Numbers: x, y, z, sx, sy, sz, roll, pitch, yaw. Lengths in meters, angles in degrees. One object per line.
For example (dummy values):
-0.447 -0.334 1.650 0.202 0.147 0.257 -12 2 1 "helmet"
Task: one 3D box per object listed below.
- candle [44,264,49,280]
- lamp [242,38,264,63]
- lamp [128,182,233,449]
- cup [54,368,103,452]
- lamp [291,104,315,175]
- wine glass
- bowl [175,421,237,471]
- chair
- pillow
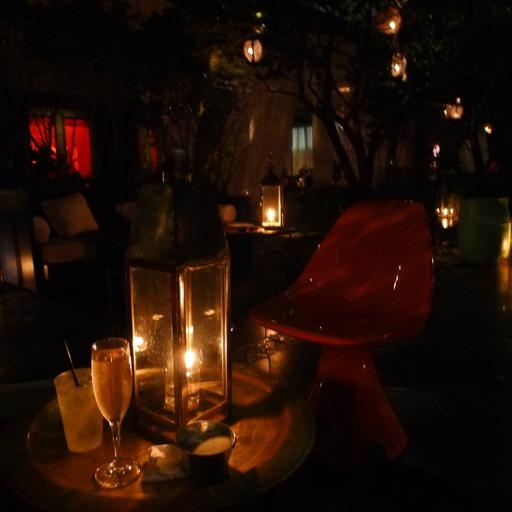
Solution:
-1.507 0.119 3.595 0.038 0.102 0.014 2 9 16 "candle"
-0.032 -1.824 4.451 0.158 0.211 0.248 -1 10 -2 "lamp"
-0.187 0.135 1.221 0.190 0.636 0.191 -13 21 -41 "lamp"
-0.396 0.357 1.162 0.075 0.160 0.087 1 9 6 "cup"
1.514 -3.436 15.752 0.610 2.318 0.204 -2 48 6 "lamp"
-0.315 0.323 1.107 0.095 0.271 0.251 -3 10 -18 "wine glass"
-0.106 0.406 1.075 0.120 0.051 0.138 -6 12 -27 "bowl"
0.301 0.208 2.178 0.798 1.257 0.720 -6 7 -45 "chair"
-1.503 -0.333 4.047 0.369 0.327 0.341 8 13 41 "pillow"
